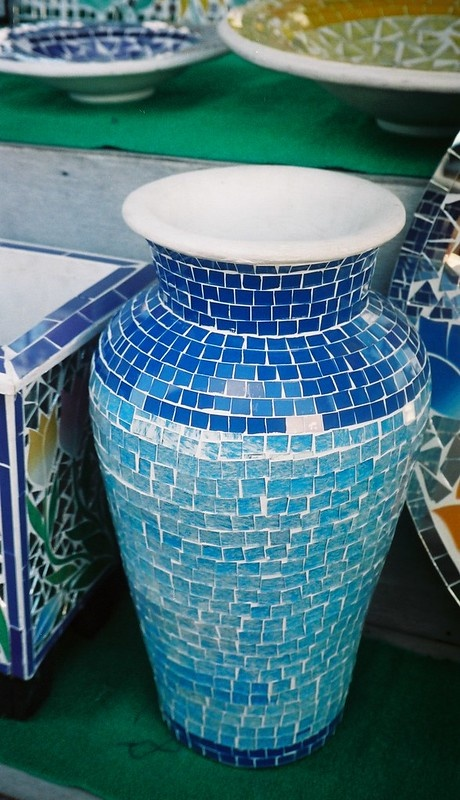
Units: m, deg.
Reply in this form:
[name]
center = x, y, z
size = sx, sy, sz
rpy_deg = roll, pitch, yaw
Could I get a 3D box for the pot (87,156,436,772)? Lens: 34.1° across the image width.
[pot]
center = 0.006, 0.122, 0.940
size = 0.346, 0.757, 0.368
rpy_deg = 5, 29, -3
